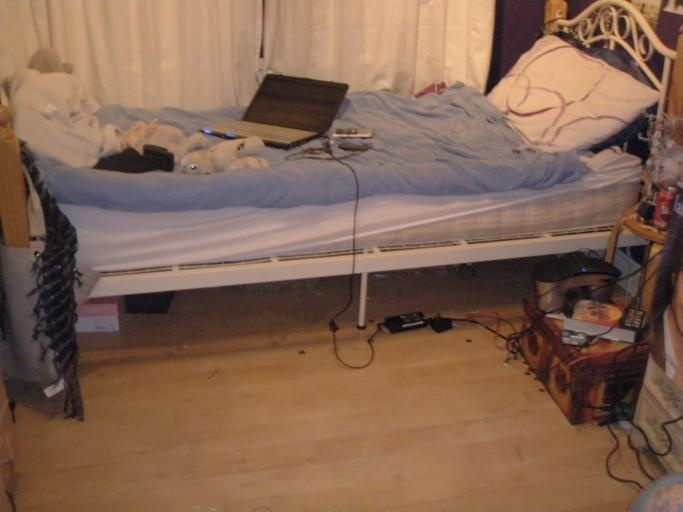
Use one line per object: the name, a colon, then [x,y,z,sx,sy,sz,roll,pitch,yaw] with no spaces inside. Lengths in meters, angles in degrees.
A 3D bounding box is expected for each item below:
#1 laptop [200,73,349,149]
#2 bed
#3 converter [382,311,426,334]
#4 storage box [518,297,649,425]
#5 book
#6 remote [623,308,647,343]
laptop: [-0.275,-0.688,2.957,0.494,0.199,0.490,19,35,22]
bed: [0.064,-0.196,3.086,2.818,1.141,1.454,-7,55,-8]
converter: [0.268,0.277,2.664,0.158,0.036,0.082,-6,24,-15]
storage box: [0.850,0.460,2.337,0.351,0.254,0.526,-10,36,-10]
book: [0.960,0.232,2.328,0.317,0.052,0.303,2,19,0]
remote: [1.038,0.240,2.228,0.080,0.034,0.113,8,42,29]
